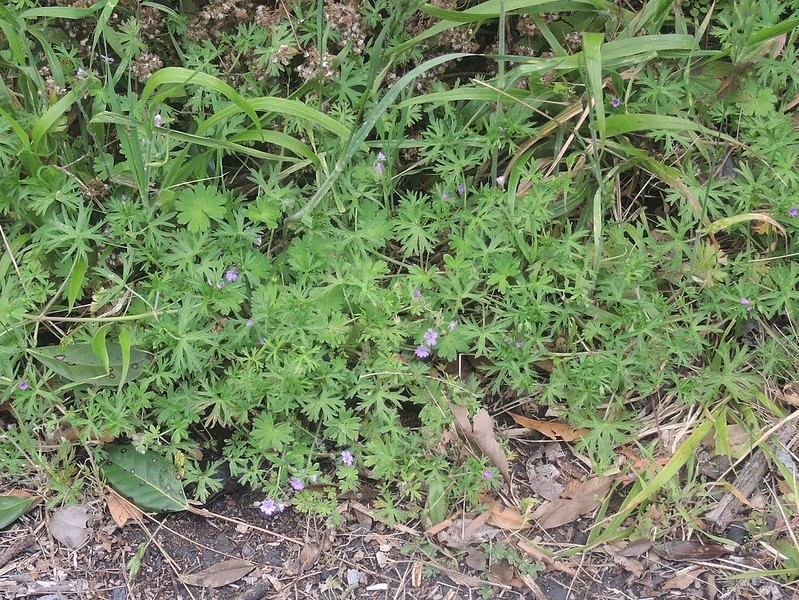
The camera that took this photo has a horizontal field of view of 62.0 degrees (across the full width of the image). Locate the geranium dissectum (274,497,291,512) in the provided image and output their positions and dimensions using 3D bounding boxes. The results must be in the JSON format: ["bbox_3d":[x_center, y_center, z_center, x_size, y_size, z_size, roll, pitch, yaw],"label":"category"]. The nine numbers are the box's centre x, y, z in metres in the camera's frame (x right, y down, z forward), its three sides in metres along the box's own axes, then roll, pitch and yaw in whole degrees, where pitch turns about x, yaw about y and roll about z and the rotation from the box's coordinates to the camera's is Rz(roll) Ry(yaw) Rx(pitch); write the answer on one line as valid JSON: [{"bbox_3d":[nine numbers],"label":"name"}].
[{"bbox_3d":[-0.519,0.891,2.871,0.033,0.067,0.066,60,31,-3],"label":"geranium dissectum"}]
